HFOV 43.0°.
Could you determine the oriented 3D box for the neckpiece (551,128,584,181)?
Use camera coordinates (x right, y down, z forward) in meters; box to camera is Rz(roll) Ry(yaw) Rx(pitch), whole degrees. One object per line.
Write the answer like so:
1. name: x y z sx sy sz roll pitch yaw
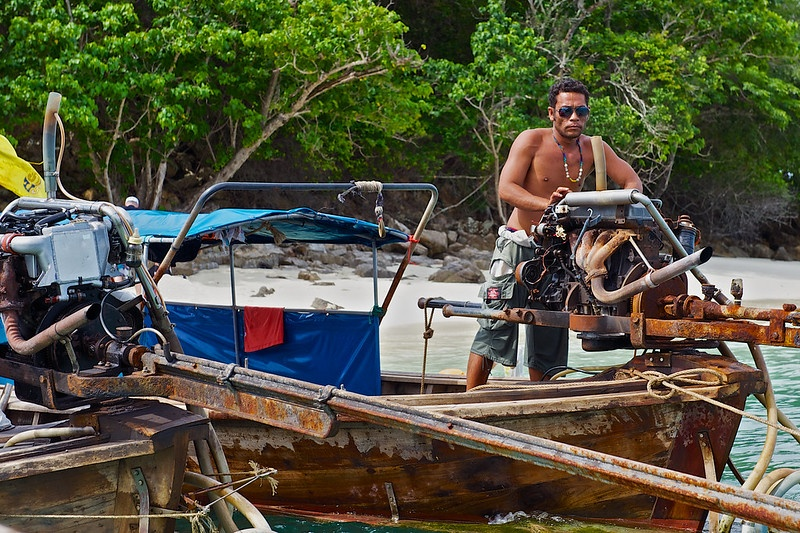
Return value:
1. neckpiece: 1.994 -1.291 12.096 0.337 0.574 0.129 -9 -2 -33
